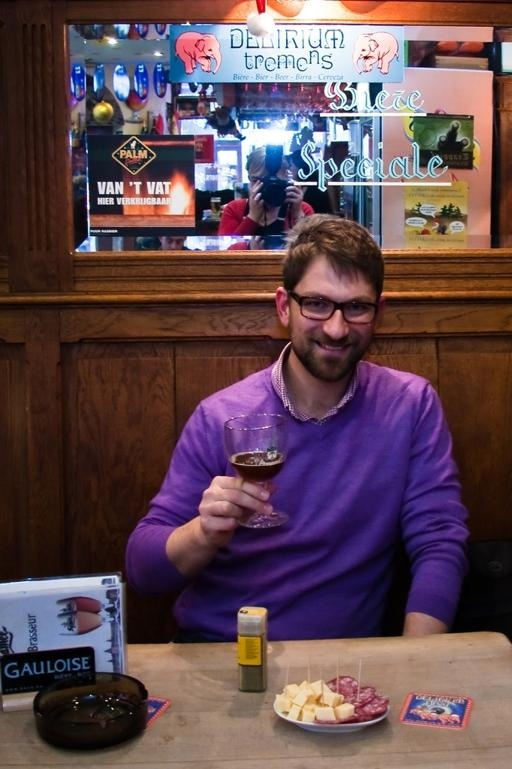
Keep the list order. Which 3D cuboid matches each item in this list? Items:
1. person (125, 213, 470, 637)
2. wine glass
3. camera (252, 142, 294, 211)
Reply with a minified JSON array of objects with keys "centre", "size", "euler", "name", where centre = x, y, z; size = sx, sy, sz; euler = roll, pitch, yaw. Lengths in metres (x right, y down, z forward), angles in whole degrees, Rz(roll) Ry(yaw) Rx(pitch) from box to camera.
[{"centre":[0.116,0.090,1.470],"size":[0.725,0.943,0.532],"euler":[-1,5,-27],"name":"person"},{"centre":[0.002,0.152,1.211],"size":[0.102,0.212,0.223],"euler":[1,4,2],"name":"wine glass"},{"centre":[0.059,-0.663,2.220],"size":[0.142,0.183,0.076],"euler":[1,8,-10],"name":"camera"}]
